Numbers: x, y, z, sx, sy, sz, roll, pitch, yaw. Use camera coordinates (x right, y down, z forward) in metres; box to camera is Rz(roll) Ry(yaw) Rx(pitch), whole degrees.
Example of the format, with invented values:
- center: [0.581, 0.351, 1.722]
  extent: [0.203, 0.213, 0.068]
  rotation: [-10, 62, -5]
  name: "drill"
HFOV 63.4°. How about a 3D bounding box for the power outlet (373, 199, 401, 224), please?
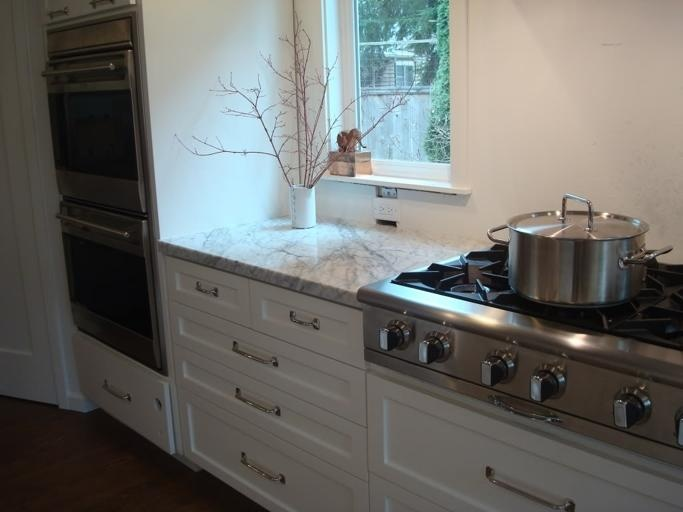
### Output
- center: [0.197, -0.200, 2.450]
  extent: [0.105, 0.078, 0.107]
  rotation: [7, 13, 33]
  name: "power outlet"
